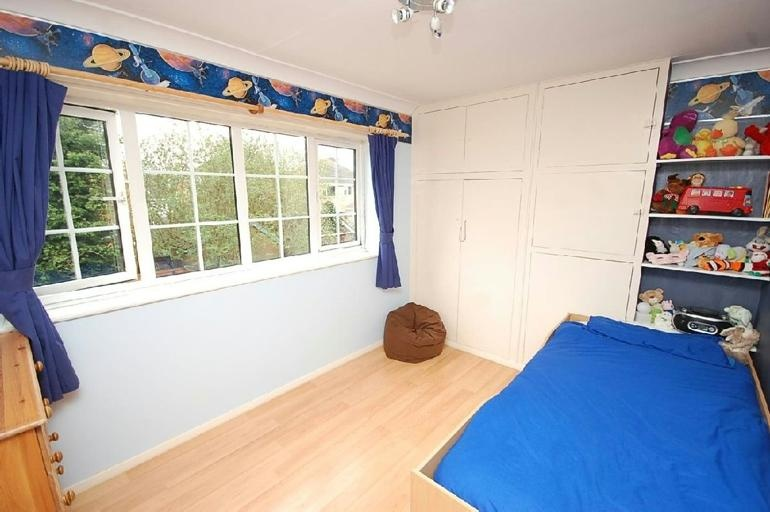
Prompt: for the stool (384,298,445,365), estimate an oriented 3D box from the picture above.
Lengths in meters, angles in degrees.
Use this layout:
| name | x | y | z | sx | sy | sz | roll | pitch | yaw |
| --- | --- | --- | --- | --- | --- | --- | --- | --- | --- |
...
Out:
| name | x | y | z | sx | sy | sz | roll | pitch | yaw |
| --- | --- | --- | --- | --- | --- | --- | --- | --- | --- |
| stool | 0.303 | 0.800 | 5.066 | 0.574 | 0.303 | 0.550 | -5 | 21 | -5 |
